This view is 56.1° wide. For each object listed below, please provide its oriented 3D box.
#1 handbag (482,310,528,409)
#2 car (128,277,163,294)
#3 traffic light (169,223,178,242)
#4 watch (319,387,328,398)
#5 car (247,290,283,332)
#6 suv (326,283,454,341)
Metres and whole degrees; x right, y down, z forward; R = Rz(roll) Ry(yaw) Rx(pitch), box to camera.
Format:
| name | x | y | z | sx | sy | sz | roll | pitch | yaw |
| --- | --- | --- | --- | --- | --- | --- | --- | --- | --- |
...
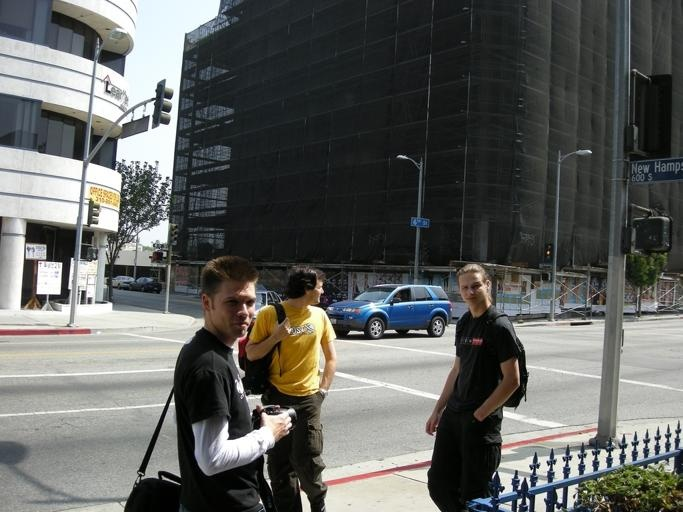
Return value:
| name | x | y | z | sx | sy | sz | roll | pitch | yaw |
| --- | --- | --- | --- | --- | --- | --- | --- | --- | --- |
| handbag | 1.526 | 0.956 | 5.877 | 0.328 | 0.934 | 0.464 | -1 | -3 | 21 |
| car | -18.191 | 2.711 | 59.873 | 1.887 | 1.309 | 3.971 | 1 | -3 | -33 |
| traffic light | -7.805 | -1.070 | 29.549 | 0.317 | 0.924 | 0.861 | 1 | -2 | -17 |
| watch | -0.191 | 1.374 | 6.400 | 0.088 | 0.101 | 0.064 | -6 | 1 | -38 |
| car | -2.752 | 2.046 | 24.324 | 1.405 | 1.388 | 3.016 | -1 | -5 | 6 |
| suv | 1.610 | 1.993 | 22.757 | 3.758 | 1.564 | 2.050 | 5 | -8 | -33 |
